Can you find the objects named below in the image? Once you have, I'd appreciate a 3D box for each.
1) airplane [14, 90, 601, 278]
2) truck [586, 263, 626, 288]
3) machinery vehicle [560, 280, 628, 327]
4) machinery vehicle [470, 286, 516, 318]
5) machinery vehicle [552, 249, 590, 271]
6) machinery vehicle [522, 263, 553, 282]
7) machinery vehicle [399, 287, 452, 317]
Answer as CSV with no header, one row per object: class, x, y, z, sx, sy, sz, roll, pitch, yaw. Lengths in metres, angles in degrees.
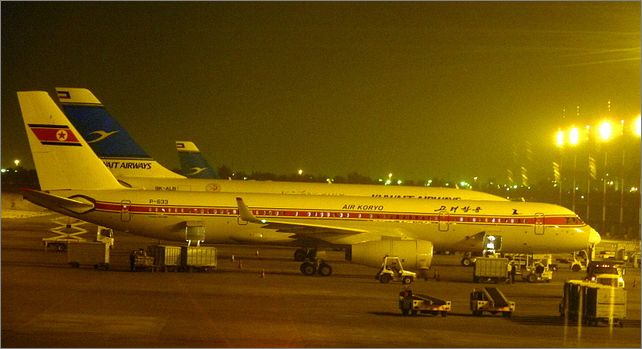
airplane,-2.537,0.959,62.467,45.651,9.356,29.076,3,21,19
truck,18.482,6.501,52.912,2.022,0.969,2.574,-1,-5,10
machinery vehicle,16.124,7.758,48.371,3.493,2.393,1.188,7,12,26
machinery vehicle,10.271,7.766,49.373,2.389,1.571,0.833,3,11,0
machinery vehicle,20.491,7.136,66.754,3.687,1.431,2.038,-1,2,-1
machinery vehicle,15.615,7.182,59.009,2.287,0.949,1.343,-2,1,3
machinery vehicle,6.331,7.809,49.210,2.430,1.183,3.324,6,-3,-18
